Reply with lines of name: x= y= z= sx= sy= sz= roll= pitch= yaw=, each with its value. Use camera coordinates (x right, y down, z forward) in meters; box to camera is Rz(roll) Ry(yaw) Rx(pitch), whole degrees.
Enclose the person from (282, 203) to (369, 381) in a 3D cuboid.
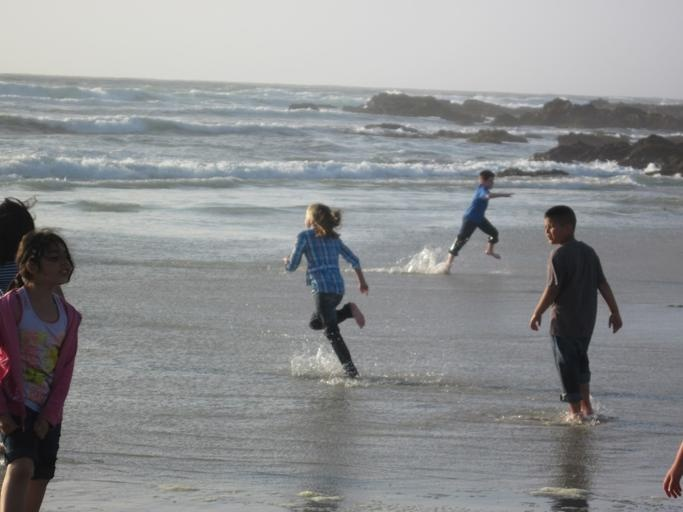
person: x=-0.215 y=0.500 z=22.703 sx=1.187 sy=2.510 sz=0.672 roll=0 pitch=6 yaw=0
